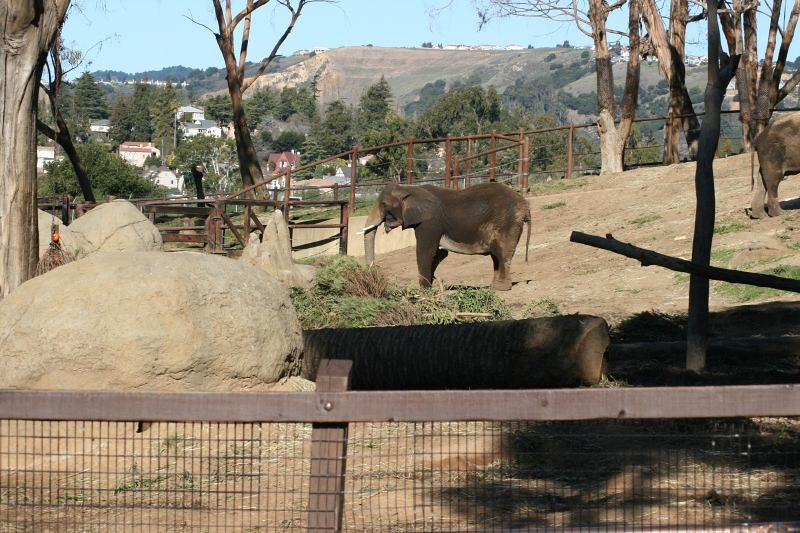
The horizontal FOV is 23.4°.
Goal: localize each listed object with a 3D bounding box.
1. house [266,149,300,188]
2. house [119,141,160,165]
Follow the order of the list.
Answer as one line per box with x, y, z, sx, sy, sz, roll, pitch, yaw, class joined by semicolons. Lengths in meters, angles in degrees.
-10.405;-8.888;181.013;3.833;3.260;2.337;-2;-6;36;house
-24.840;-10.744;185.870;3.175;2.388;8.317;-5;7;-5;house
